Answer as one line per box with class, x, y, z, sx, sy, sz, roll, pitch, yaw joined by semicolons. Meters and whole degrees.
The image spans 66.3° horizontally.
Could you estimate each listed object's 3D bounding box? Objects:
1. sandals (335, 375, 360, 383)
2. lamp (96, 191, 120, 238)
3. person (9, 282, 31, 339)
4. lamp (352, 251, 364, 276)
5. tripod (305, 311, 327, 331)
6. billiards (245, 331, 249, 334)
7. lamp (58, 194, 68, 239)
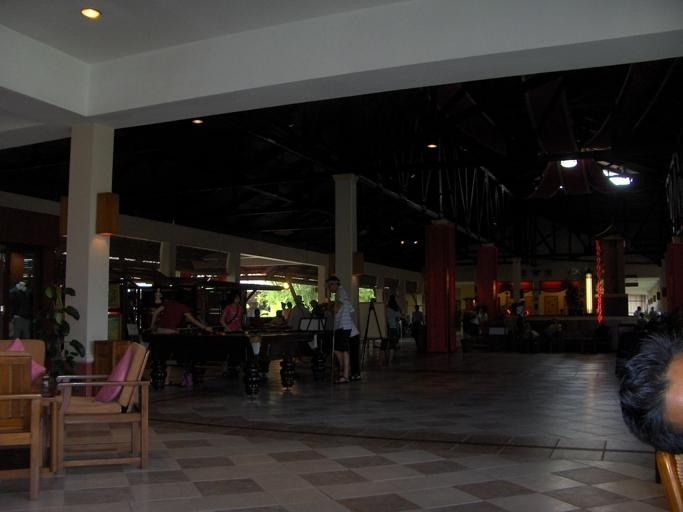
sandals;0.133;2.174;9.209;0.437;0.121;0.155;9;-14;-37
lamp;-3.303;-0.617;7.324;0.284;0.616;0.199;1;-6;-11
person;-6.620;1.282;10.896;0.437;1.524;0.328;5;17;-10
lamp;0.377;0.164;12.198;0.199;0.550;0.482;-2;-6;16
tripod;-0.444;1.142;9.160;0.367;0.355;0.213;2;-4;-27
billiards;-1.662;1.324;9.075;0.057;0.078;0.103;1;-3;10
lamp;-3.932;-0.587;7.395;0.086;0.545;0.151;4;-7;-39
